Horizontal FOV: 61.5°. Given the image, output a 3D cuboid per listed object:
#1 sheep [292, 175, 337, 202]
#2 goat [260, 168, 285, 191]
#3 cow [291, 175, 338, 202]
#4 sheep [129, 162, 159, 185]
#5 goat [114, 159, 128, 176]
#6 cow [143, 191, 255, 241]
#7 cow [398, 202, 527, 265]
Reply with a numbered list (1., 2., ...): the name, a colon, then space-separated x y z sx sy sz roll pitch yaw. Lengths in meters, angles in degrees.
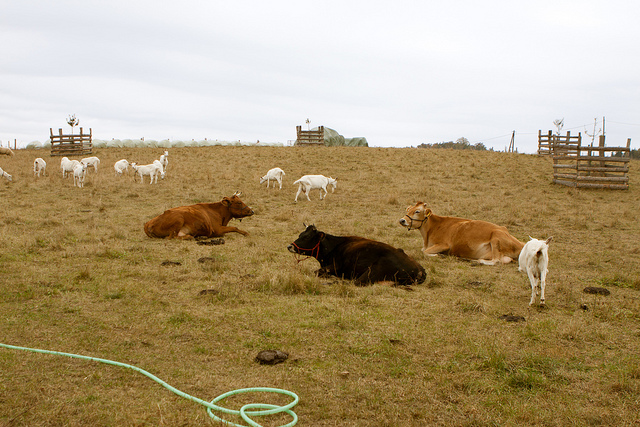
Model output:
1. sheep: -0.146 -1.205 24.892 2.340 1.237 0.582 -4 11 -32
2. goat: -2.413 -1.820 27.231 1.142 0.946 1.994 3 7 -10
3. cow: -0.174 -1.163 24.835 2.413 1.276 0.521 -1 10 -34
4. sheep: -8.953 -2.082 27.689 1.270 0.915 2.709 1 7 -19
5. goat: -10.859 -2.506 29.410 0.589 0.814 1.353 3 7 -6
6. cow: -3.998 -0.041 17.362 3.959 1.672 1.410 -2 6 -34
7. cow: 3.838 0.694 16.091 4.135 1.750 1.585 7 11 40
